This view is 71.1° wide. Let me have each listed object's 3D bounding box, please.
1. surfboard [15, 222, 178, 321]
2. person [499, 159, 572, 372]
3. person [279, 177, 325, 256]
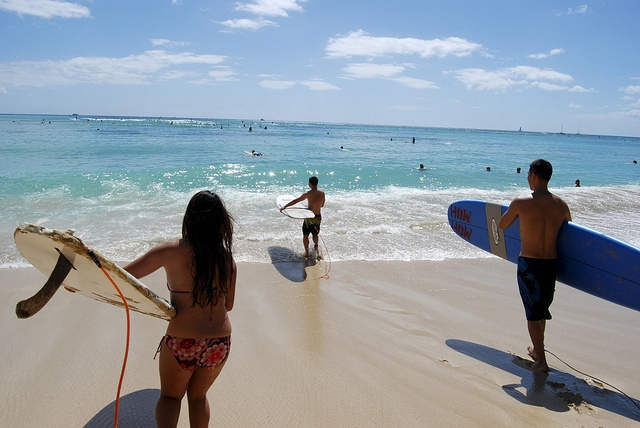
[{"bbox_3d":[-2.163,0.624,4.378,0.922,1.465,0.589,-31,38,39],"label":"surfboard"},{"bbox_3d":[2.814,0.647,6.044,0.828,2.726,0.963,8,17,25],"label":"person"},{"bbox_3d":[-0.322,-0.007,9.571,0.865,1.560,1.457,0,14,-2],"label":"person"}]
